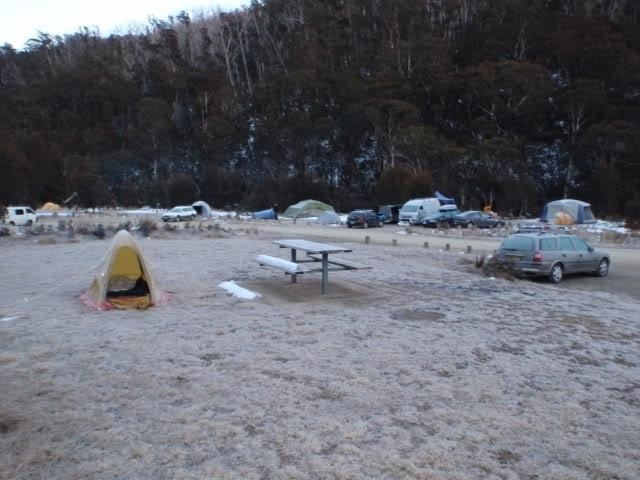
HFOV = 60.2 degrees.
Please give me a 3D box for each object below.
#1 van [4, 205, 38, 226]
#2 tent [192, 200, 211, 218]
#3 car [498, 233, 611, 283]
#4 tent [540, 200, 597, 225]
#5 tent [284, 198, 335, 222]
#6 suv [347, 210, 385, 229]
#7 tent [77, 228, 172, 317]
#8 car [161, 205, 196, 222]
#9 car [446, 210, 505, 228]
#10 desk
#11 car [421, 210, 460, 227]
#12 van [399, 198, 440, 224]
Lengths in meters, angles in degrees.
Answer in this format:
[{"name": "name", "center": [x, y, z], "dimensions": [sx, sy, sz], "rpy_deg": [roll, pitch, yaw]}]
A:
[{"name": "van", "center": [-19.749, -1.508, 36.600], "dimensions": [1.404, 1.367, 2.931], "rpy_deg": [2, 2, 26]}, {"name": "tent", "center": [-11.192, -2.931, 52.892], "dimensions": [1.575, 1.329, 1.542], "rpy_deg": [3, 4, 40]}, {"name": "car", "center": [7.415, 0.482, 17.206], "dimensions": [3.079, 1.136, 1.507], "rpy_deg": [-7, 12, -26]}, {"name": "tent", "center": [19.357, -2.252, 43.568], "dimensions": [2.617, 1.562, 2.651], "rpy_deg": [0, 5, -13]}, {"name": "tent", "center": [-1.096, -2.735, 52.325], "dimensions": [3.216, 1.209, 2.816], "rpy_deg": [-9, 10, -16]}, {"name": "suv", "center": [3.358, -1.485, 40.674], "dimensions": [1.177, 0.886, 2.227], "rpy_deg": [6, 11, 36]}, {"name": "tent", "center": [-4.565, 0.662, 12.823], "dimensions": [1.753, 1.562, 1.551], "rpy_deg": [8, 12, 36]}, {"name": "car", "center": [-11.741, -2.136, 46.298], "dimensions": [1.369, 0.979, 2.875], "rpy_deg": [1, 2, 31]}, {"name": "car", "center": [11.685, -1.385, 40.182], "dimensions": [3.219, 1.121, 1.509], "rpy_deg": [-4, 12, -13]}, {"name": "desk", "center": [-0.322, 0.772, 15.121], "dimensions": [1.033, 1.263, 2.597], "rpy_deg": [-7, 10, -35]}, {"name": "car", "center": [8.938, -1.505, 40.869], "dimensions": [2.221, 1.035, 1.383], "rpy_deg": [-3, 5, -27]}, {"name": "van", "center": [7.895, -2.184, 43.703], "dimensions": [1.768, 1.662, 3.139], "rpy_deg": [3, 7, 44]}]
